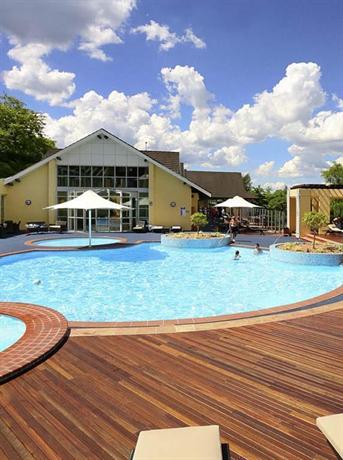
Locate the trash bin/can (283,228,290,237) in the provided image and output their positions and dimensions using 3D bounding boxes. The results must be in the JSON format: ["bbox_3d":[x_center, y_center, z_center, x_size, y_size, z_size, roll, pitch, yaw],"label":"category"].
[{"bbox_3d":[7.701,0.148,23.154,0.500,0.813,0.499,-1,4,9],"label":"trash bin/can"}]
